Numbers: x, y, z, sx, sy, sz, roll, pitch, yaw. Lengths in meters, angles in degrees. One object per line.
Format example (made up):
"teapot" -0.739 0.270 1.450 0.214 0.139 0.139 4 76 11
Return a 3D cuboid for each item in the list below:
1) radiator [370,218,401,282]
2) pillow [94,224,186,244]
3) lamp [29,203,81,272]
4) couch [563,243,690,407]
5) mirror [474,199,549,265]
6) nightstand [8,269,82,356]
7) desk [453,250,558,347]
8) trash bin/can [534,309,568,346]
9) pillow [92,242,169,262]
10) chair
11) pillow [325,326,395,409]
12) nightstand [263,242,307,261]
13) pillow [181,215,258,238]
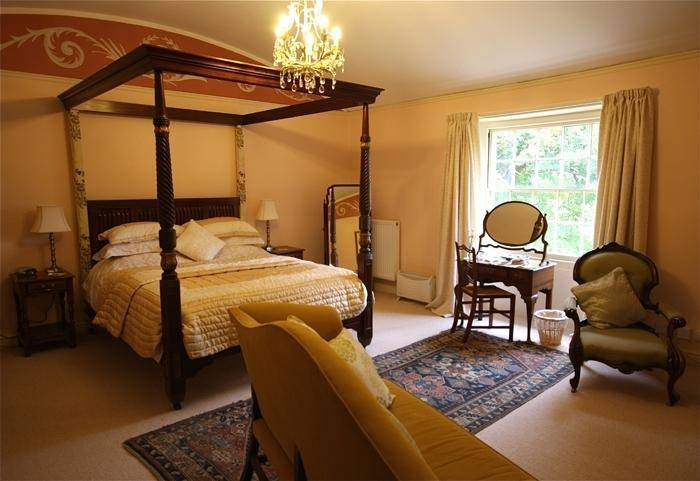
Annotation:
"radiator" 0.595 0.164 7.785 0.562 1.015 0.114 7 11 44
"pillow" -2.730 -0.110 5.943 0.702 0.164 0.422 -6 16 -34
"lamp" -3.569 -0.024 5.650 0.392 0.798 0.439 -5 9 -31
"couch" 2.752 0.831 4.856 1.146 1.458 1.234 -1 4 -13
"mirror" 2.156 -0.109 6.193 0.829 0.737 0.215 6 8 35
"nightstand" -3.662 0.850 5.634 0.562 0.847 0.625 6 9 45
"desk" 1.974 0.692 6.047 0.657 0.847 1.056 -4 7 -40
"trash bin/can" 2.452 1.089 5.741 0.364 0.323 0.338 -7 3 -24
"pillow" -2.763 0.096 5.859 0.691 0.117 0.434 -12 20 -30
"chair" 1.689 0.627 5.894 0.737 1.112 0.674 -2 8 -24
"pillow" 0.097 0.931 3.475 0.164 0.534 0.546 -34 -19 10
"nightstand" -1.004 0.152 7.085 0.350 0.316 0.342 -7 9 -43
"pillow" -1.676 -0.184 6.562 0.477 0.133 0.495 17 10 42
